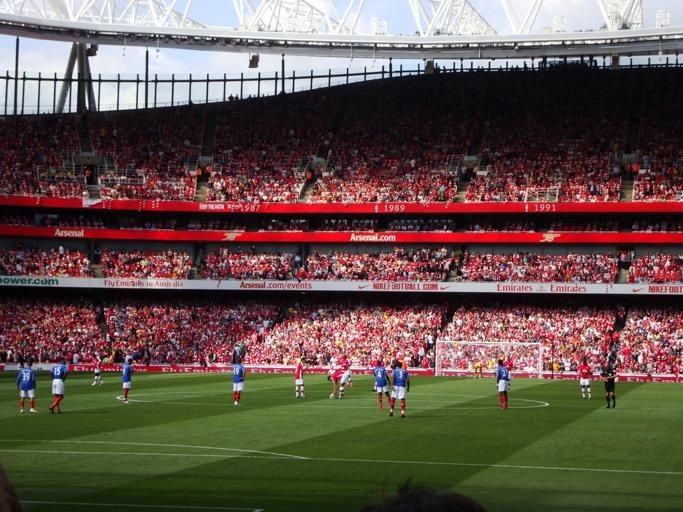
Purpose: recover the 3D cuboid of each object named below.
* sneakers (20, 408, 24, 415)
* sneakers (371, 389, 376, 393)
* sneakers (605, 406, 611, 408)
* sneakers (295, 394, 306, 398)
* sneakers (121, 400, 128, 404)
[{"bbox_3d":[-15.140,7.361,47.152,0.142,0.200,0.422,4,-13,-20],"label":"sneakers"},{"bbox_3d":[1.865,7.654,56.375,0.273,0.278,0.133,4,-21,6],"label":"sneakers"},{"bbox_3d":[13.286,7.523,49.468,0.165,0.072,0.073,-5,-27,-40],"label":"sneakers"},{"bbox_3d":[-2.137,7.457,52.725,0.558,0.248,0.189,-1,3,-23],"label":"sneakers"},{"bbox_3d":[-11.043,7.404,50.695,0.393,0.178,0.136,-3,-3,39],"label":"sneakers"}]
